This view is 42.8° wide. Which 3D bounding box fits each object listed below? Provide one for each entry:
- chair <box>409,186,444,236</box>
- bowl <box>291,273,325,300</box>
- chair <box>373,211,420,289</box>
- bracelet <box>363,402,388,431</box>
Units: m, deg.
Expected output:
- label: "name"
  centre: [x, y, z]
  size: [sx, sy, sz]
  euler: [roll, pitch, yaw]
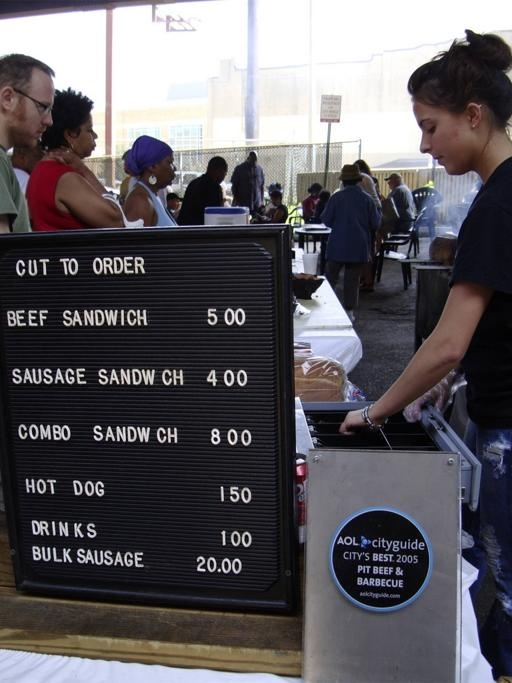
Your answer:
- label: "chair"
  centre: [2.677, -2.025, 10.193]
  size: [0.481, 0.545, 0.720]
  euler: [-4, -6, 15]
- label: "bowl"
  centre: [0.263, -0.275, 3.295]
  size: [0.145, 0.120, 0.290]
  euler: [0, 10, 6]
- label: "chair"
  centre: [2.106, -1.355, 9.918]
  size: [0.624, 0.985, 0.749]
  euler: [1, 8, 5]
- label: "bracelet"
  centre: [0.222, 0.143, 1.209]
  size: [0.050, 0.028, 0.059]
  euler: [10, 33, 6]
